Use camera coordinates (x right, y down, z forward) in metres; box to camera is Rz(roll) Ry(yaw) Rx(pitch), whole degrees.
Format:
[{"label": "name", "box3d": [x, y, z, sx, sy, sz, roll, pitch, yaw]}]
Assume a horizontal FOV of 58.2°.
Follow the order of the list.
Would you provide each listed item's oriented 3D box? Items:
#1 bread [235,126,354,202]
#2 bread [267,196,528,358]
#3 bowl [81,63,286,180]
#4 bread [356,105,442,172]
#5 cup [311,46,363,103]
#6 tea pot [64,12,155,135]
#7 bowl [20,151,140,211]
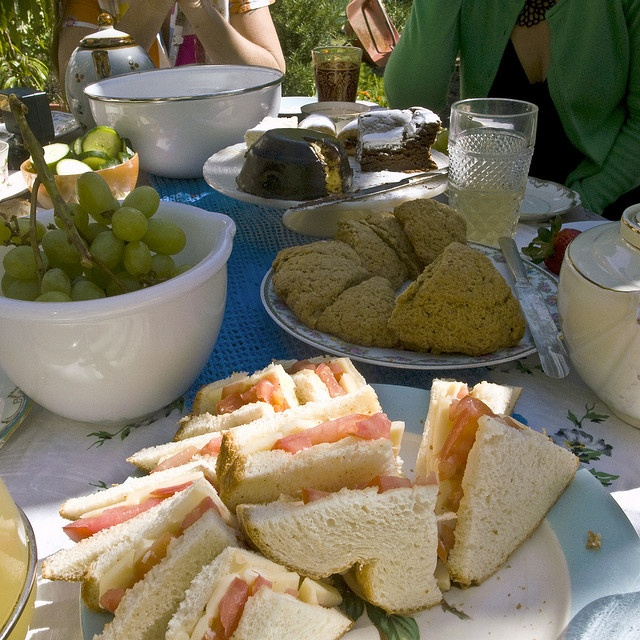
[{"label": "bread", "box3d": [-0.058, -0.423, 1.502, 0.269, 0.117, 0.279, 28, 42, 33]}, {"label": "bread", "box3d": [0.158, -0.064, 1.021, 0.335, 0.083, 0.323, -13, 32, -31]}, {"label": "bowl", "box3d": [-0.399, -0.705, 1.888, 0.557, 0.236, 0.553, 6, 25, -3]}, {"label": "bread", "box3d": [0.234, -0.536, 1.789, 0.263, 0.143, 0.239, -4, 38, -2]}, {"label": "cup", "box3d": [0.056, -0.958, 2.237, 0.189, 0.204, 0.164, 4, 42, 6]}, {"label": "tea pot", "box3d": [-0.711, -0.832, 1.997, 0.181, 0.398, 0.248, -23, 33, -37]}, {"label": "bowl", "box3d": [-0.578, -0.329, 1.447, 0.307, 0.145, 0.287, 1, 29, 0]}]
